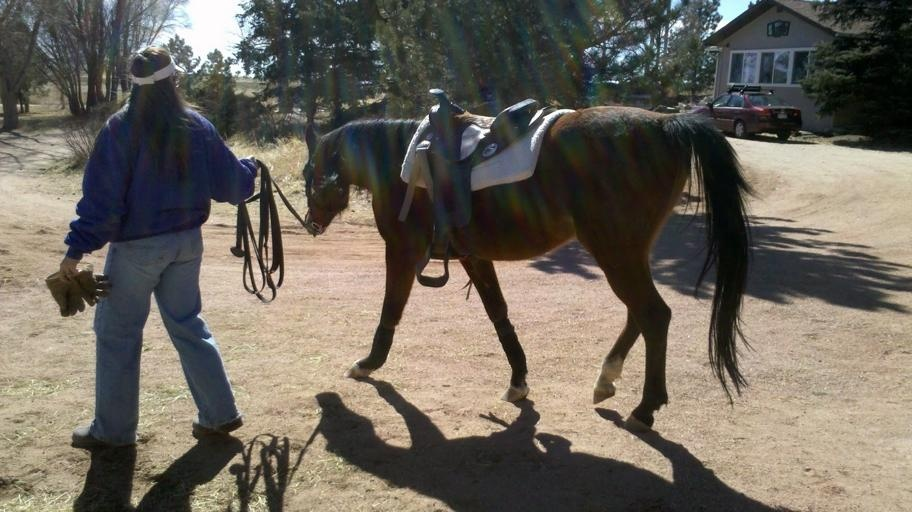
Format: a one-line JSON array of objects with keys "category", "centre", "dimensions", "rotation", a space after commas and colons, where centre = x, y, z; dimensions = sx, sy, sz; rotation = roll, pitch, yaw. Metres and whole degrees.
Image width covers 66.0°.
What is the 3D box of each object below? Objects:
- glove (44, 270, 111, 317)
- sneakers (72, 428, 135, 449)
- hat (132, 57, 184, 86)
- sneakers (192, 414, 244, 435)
[{"category": "glove", "centre": [-3.972, 0.386, 7.482], "dimensions": [0.656, 0.518, 0.137], "rotation": [-1, 13, -2]}, {"category": "sneakers", "centre": [-3.836, 1.992, 7.747], "dimensions": [0.587, 0.239, 0.247], "rotation": [10, 3, -6]}, {"category": "hat", "centre": [-3.173, -1.954, 7.471], "dimensions": [0.464, 0.269, 0.361], "rotation": [-7, 15, -26]}, {"category": "sneakers", "centre": [-2.634, 1.896, 7.905], "dimensions": [0.589, 0.240, 0.215], "rotation": [3, 11, -10]}]
